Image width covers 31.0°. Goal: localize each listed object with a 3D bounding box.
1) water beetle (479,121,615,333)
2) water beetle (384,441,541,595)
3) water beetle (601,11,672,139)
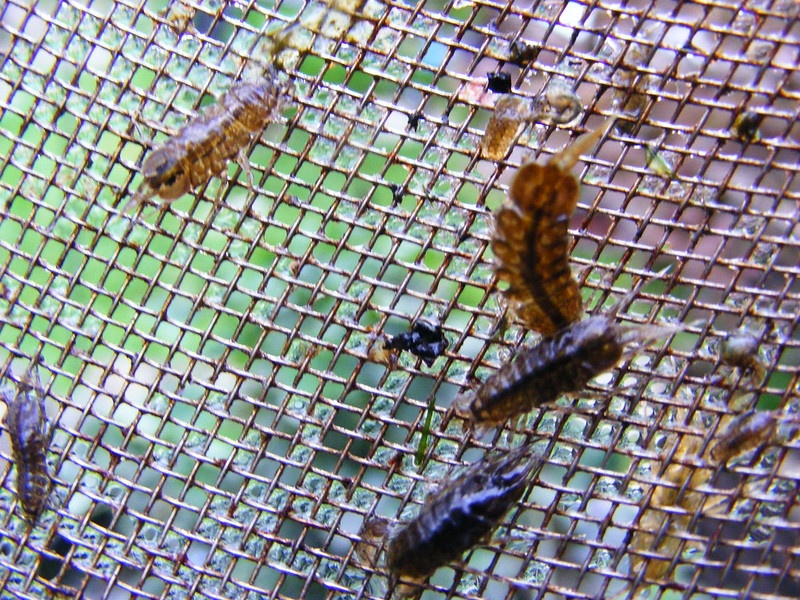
[{"bbox_3d":[0.365,-0.154,3.719,0.205,0.656,0.161,14,41,7],"label":"water beetle"},{"bbox_3d":[0.176,0.570,3.864,0.489,0.191,0.197,-32,80,8],"label":"water beetle"},{"bbox_3d":[0.631,-0.594,3.881,0.134,0.079,0.330,15,103,41],"label":"water beetle"}]
